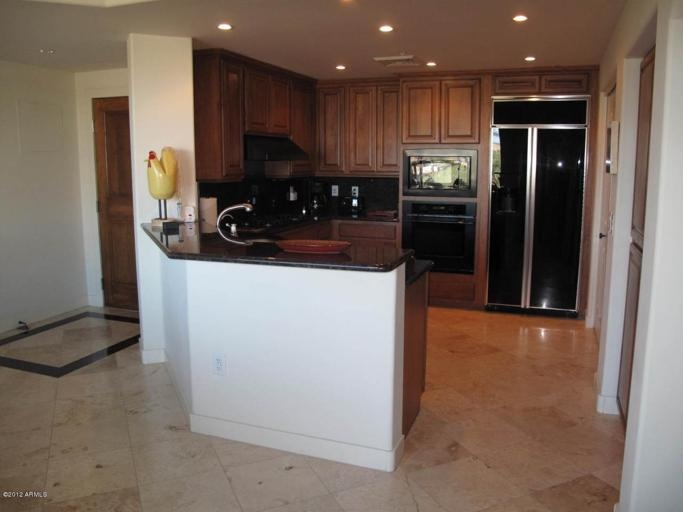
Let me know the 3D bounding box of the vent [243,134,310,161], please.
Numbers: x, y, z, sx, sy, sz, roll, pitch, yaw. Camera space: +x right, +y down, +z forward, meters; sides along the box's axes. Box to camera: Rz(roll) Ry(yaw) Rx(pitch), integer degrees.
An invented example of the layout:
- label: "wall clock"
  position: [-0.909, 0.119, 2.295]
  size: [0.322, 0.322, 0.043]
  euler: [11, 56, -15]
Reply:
- label: "vent"
  position: [-0.728, -1.189, 5.621]
  size: [0.324, 0.286, 0.918]
  euler: [4, 14, 19]

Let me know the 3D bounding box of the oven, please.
- label: "oven"
  position: [1.112, -0.191, 6.246]
  size: [0.911, 0.897, 0.670]
  euler: [1, -2, -10]
